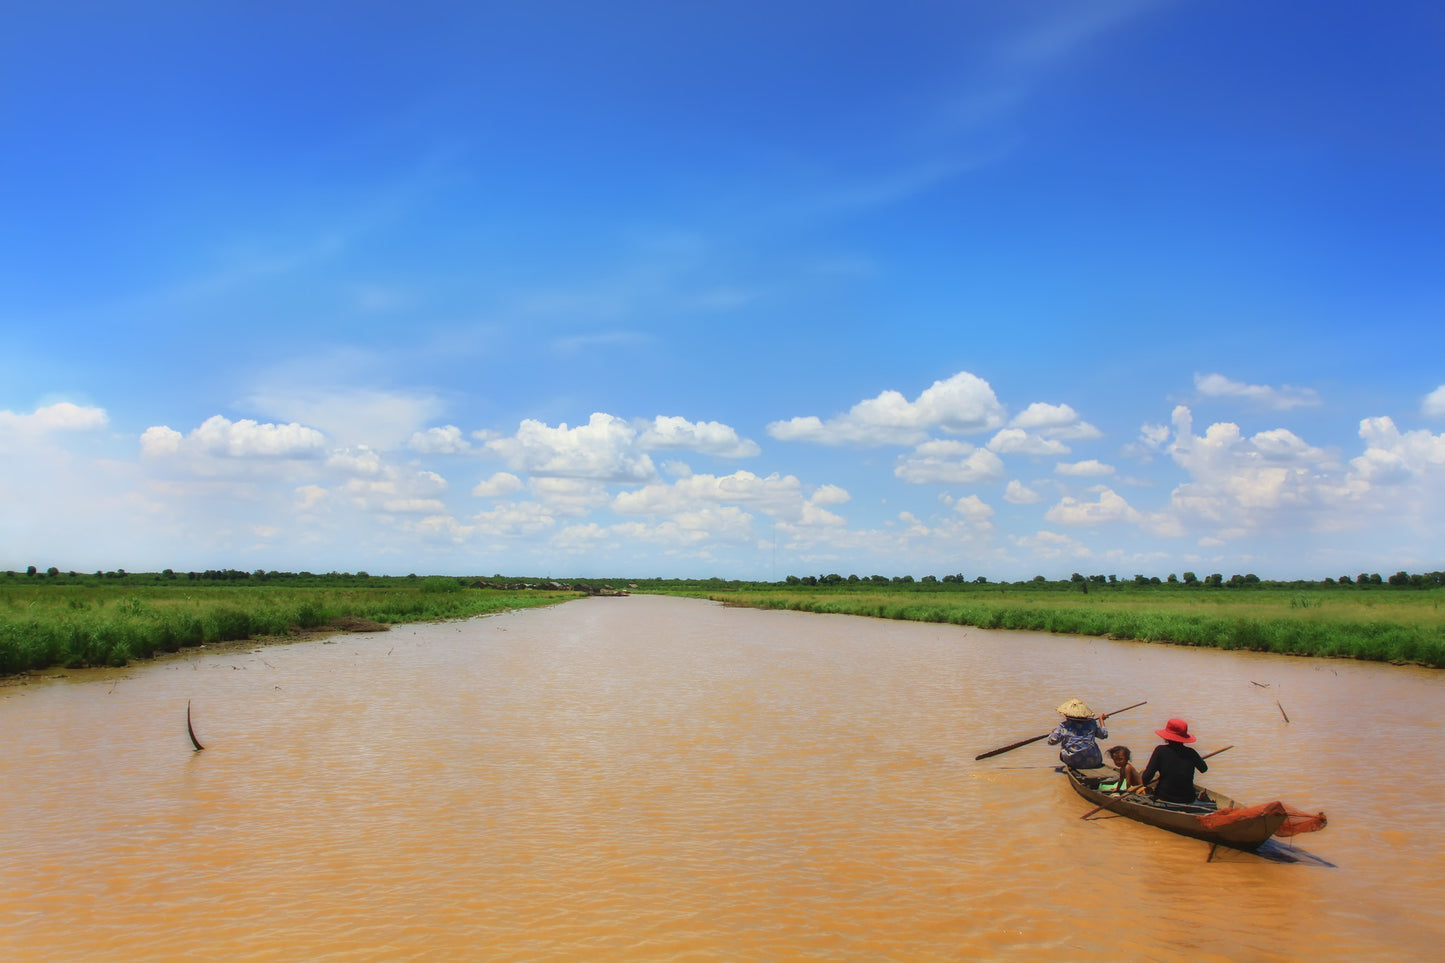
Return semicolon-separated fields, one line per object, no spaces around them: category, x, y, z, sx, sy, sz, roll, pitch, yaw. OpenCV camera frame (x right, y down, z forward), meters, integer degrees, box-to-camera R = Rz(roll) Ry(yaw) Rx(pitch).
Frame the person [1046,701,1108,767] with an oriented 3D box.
person;8.003;5.761;23.459;1.049;1.486;1.291;-1;-1;17
